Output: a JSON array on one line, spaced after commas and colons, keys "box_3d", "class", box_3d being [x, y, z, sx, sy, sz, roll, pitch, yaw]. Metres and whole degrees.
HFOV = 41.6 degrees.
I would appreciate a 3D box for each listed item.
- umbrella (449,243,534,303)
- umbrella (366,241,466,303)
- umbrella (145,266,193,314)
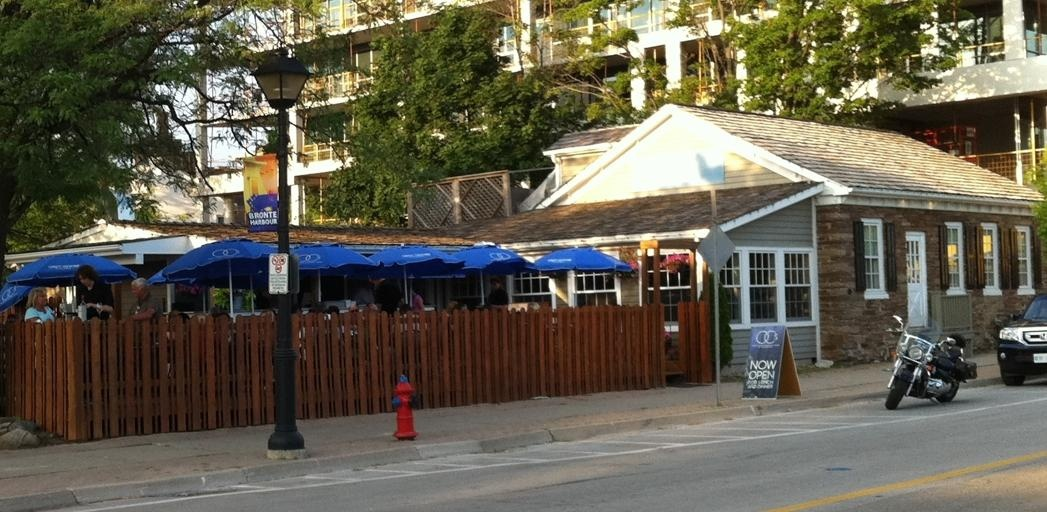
[{"box_3d": [-1.503, 0.777, 50.131, 4.098, 2.335, 3.727, -3, -4, -12], "class": "umbrella"}, {"box_3d": [-3.755, 0.292, 49.227, 2.499, 1.341, 2.416, -4, -2, 21], "class": "umbrella"}, {"box_3d": [-13.058, 1.090, 50.851, 1.787, 1.079, 1.686, 1, -6, 36], "class": "umbrella"}]
